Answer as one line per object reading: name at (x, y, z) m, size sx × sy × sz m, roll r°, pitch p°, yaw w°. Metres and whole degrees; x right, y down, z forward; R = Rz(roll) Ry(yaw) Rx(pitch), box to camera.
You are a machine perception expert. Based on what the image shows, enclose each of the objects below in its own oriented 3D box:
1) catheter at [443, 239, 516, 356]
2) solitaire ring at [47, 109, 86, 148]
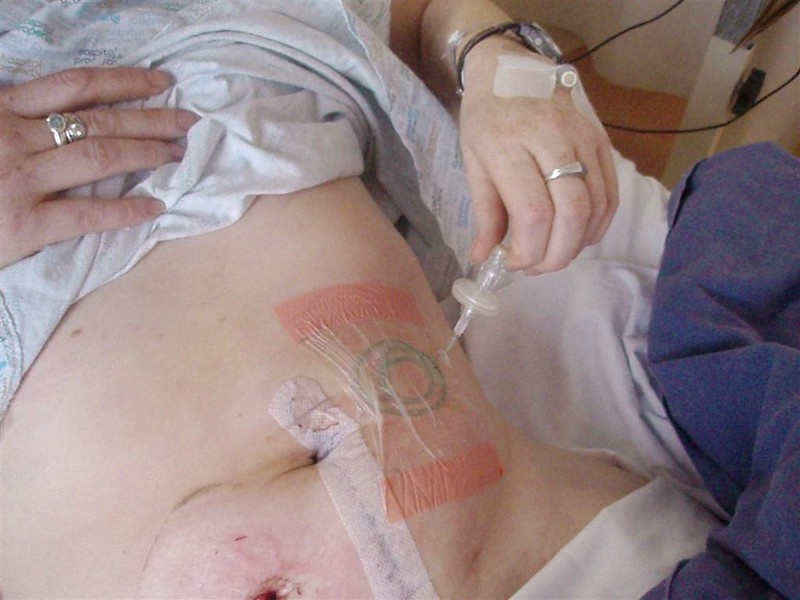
catheter at (0.115, 0.009, 1.256) m, size 0.074 × 0.077 × 0.223 m, roll -93°, pitch 27°, yaw -62°
solitaire ring at (-0.519, -0.277, 1.238) m, size 0.056 × 0.056 × 0.020 m, roll -26°, pitch 3°, yaw -14°
